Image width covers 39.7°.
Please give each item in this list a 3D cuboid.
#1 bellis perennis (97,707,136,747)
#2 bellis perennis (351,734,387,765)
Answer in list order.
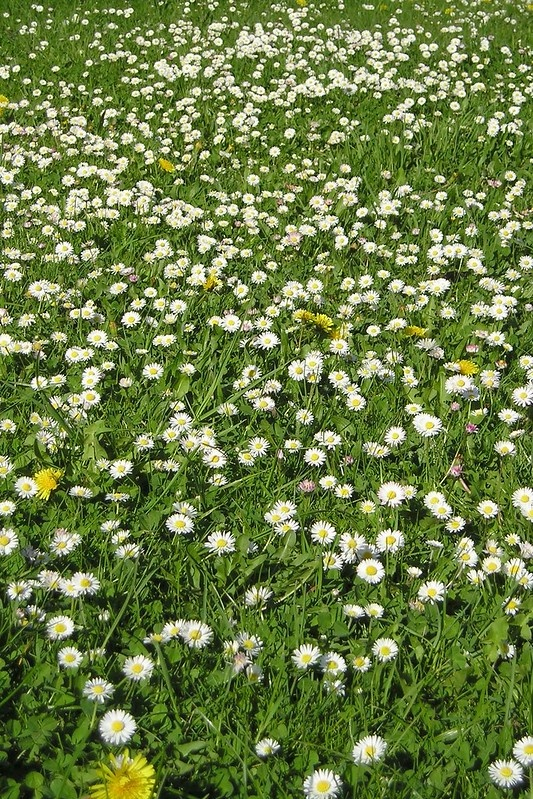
[{"bbox_3d":[-0.324,0.724,1.614,0.078,0.056,0.062,1,30,-3],"label":"bellis perennis"},{"bbox_3d":[0.221,0.775,1.625,0.068,0.033,0.072,-16,-2,33],"label":"bellis perennis"}]
